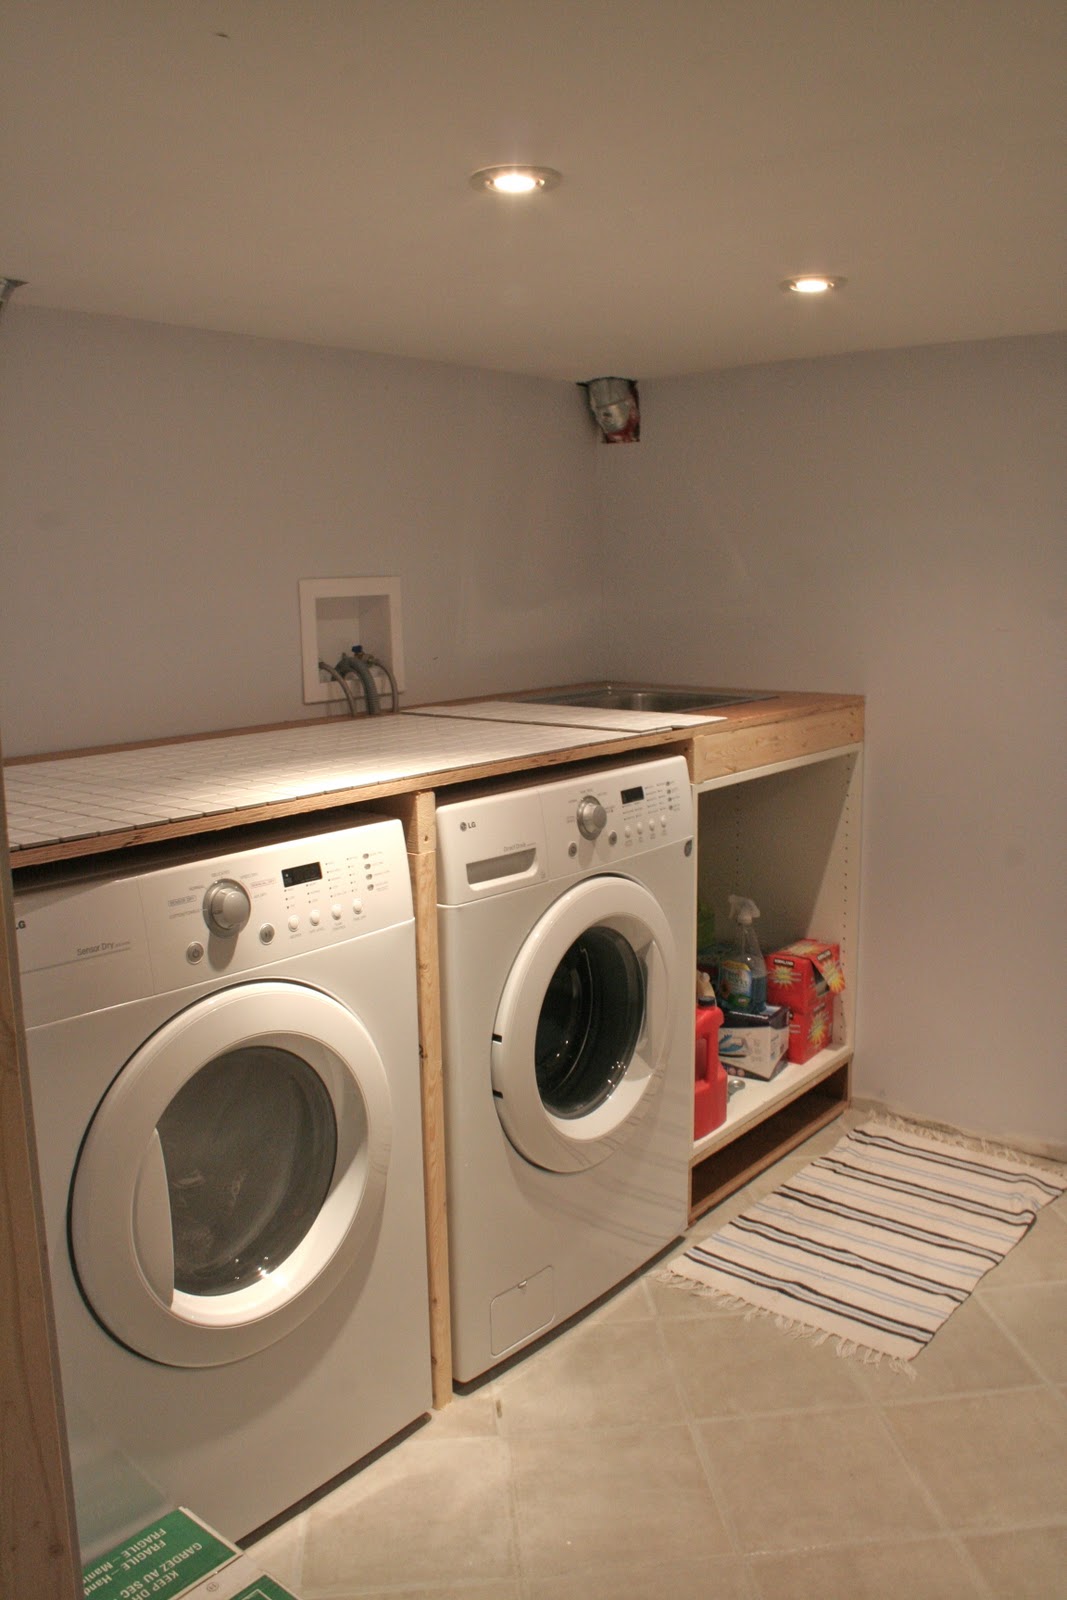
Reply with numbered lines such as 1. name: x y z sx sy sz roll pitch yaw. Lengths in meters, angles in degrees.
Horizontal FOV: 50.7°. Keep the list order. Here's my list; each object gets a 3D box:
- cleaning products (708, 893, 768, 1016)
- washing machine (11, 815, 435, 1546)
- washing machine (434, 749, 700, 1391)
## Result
1. cleaning products: 0.506 0.376 2.766 0.128 0.232 0.287 0 7 9
2. washing machine: -0.507 0.460 1.555 0.520 0.835 0.530 14 14 41
3. washing machine: -0.066 0.415 2.092 0.599 0.918 0.507 7 11 44
